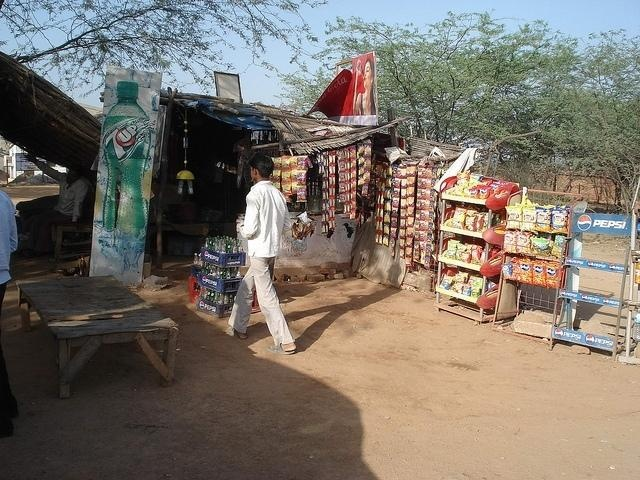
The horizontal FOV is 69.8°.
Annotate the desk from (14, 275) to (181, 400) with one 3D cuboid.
[{"bbox_3d":[-3.329,0.910,6.404,1.256,0.522,2.694,16,-10,-36],"label":"desk"}]

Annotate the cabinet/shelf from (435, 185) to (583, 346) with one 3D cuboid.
[{"bbox_3d":[3.296,0.276,7.751,1.294,2.402,2.318,-2,12,-31],"label":"cabinet/shelf"}]

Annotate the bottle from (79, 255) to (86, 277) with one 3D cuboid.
[{"bbox_3d":[-4.850,0.538,9.371,0.138,0.367,0.450,-1,12,-29],"label":"bottle"}]
